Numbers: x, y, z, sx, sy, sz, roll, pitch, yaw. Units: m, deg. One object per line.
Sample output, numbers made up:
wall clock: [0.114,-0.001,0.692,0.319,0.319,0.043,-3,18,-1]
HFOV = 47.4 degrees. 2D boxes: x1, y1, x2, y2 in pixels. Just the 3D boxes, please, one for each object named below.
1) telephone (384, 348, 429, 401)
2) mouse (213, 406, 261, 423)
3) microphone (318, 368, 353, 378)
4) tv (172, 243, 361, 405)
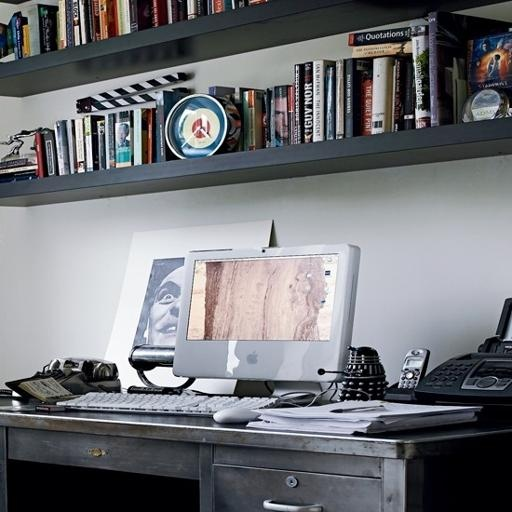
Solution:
telephone: [0.347,0.264,1.282,0.072,0.108,0.096,8,12,-28]
mouse: [-0.039,0.304,1.110,0.072,0.020,0.035,1,0,-24]
microphone: [0.192,0.281,1.405,0.053,0.011,0.011,4,26,-7]
tv: [0.036,0.179,1.563,0.517,0.326,0.070,-4,-23,30]
